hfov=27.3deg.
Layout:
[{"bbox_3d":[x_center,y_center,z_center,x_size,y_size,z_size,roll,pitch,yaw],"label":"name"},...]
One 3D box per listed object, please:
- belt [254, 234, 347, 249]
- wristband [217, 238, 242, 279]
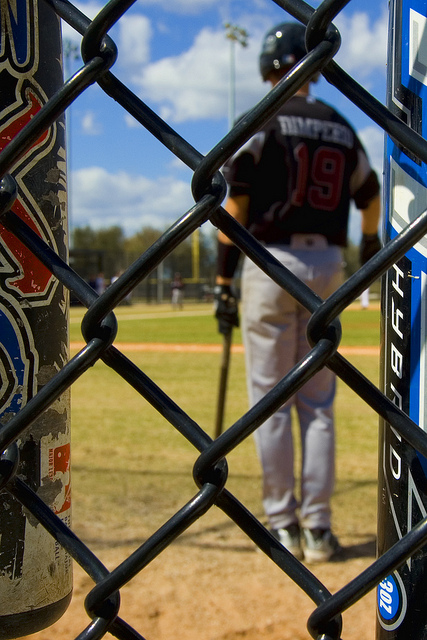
[{"bbox_3d":[0.257,-0.245,2.714,0.209,0.047,0.202,0,3,-12],"label":"belt"},{"bbox_3d":[0.037,-0.219,3.101,0.044,0.151,0.045,9,2,17],"label":"wristband"}]
